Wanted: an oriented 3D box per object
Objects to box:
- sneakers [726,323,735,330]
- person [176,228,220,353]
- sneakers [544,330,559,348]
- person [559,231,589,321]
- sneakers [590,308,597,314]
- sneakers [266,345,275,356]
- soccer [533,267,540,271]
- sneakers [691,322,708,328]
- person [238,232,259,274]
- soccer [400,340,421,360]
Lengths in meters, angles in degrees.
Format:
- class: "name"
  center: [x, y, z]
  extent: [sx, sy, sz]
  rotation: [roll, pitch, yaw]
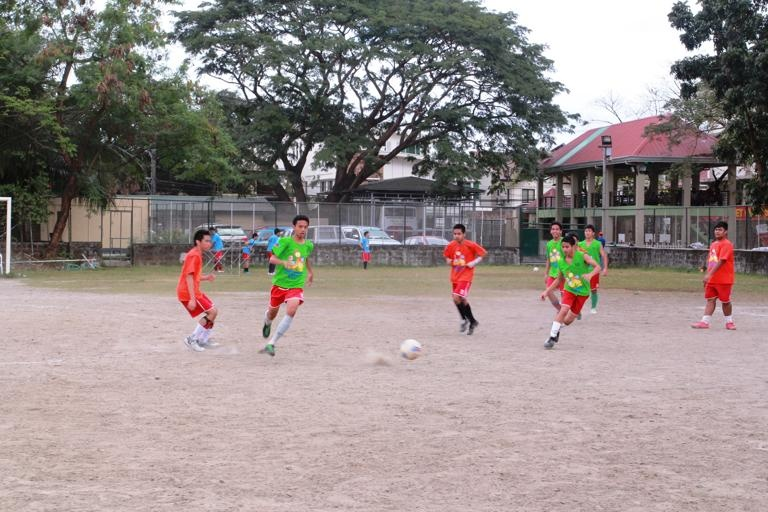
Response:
- class: "sneakers"
  center: [6.689, 1.337, 15.874]
  extent: [0.113, 0.119, 0.303]
  rotation: [-1, -6, 3]
- class: "person"
  center: [-2.874, 0.512, 12.618]
  extent: [0.561, 1.835, 0.693]
  rotation: [1, -1, -6]
- class: "sneakers"
  center: [2.731, 1.343, 13.347]
  extent: [0.147, 0.179, 0.416]
  rotation: [1, 0, 23]
- class: "person"
  center: [3.265, 0.381, 13.820]
  extent: [0.646, 1.542, 1.221]
  rotation: [1, -1, 14]
- class: "sneakers"
  center: [4.767, 1.224, 18.657]
  extent: [0.091, 0.109, 0.259]
  rotation: [2, -8, 1]
- class: "sneakers"
  center: [-1.697, 1.383, 12.325]
  extent: [0.139, 0.183, 0.391]
  rotation: [1, -1, -7]
- class: "soccer"
  center: [6.387, 0.498, 34.480]
  extent: [0.224, 0.235, 0.279]
  rotation: [0, -6, 7]
- class: "sneakers"
  center: [6.115, 1.314, 15.917]
  extent: [0.293, 0.125, 0.106]
  rotation: [2, -3, 24]
- class: "person"
  center: [-5.748, -0.102, 35.104]
  extent: [0.682, 0.713, 1.737]
  rotation: [-1, -36, -12]
- class: "soccer"
  center: [0.419, 1.356, 12.089]
  extent: [0.284, 0.274, 0.279]
  rotation: [-8, -7, 7]
